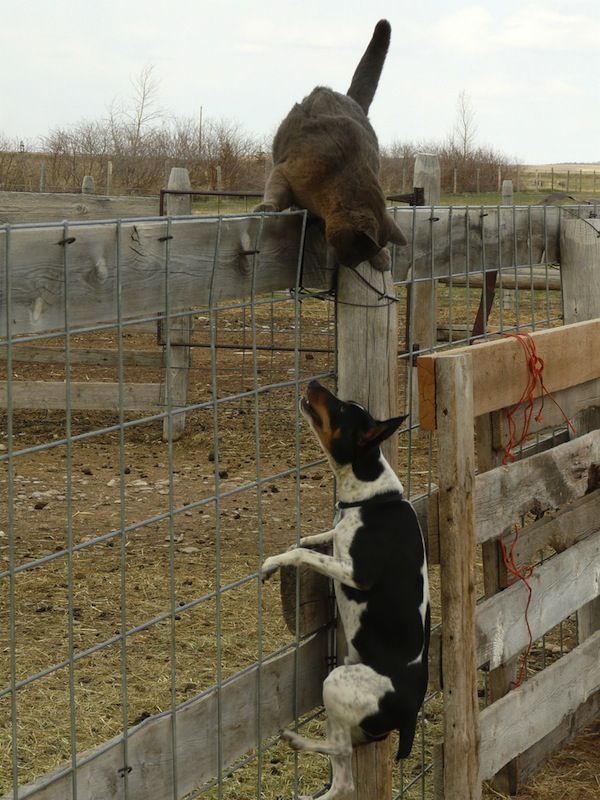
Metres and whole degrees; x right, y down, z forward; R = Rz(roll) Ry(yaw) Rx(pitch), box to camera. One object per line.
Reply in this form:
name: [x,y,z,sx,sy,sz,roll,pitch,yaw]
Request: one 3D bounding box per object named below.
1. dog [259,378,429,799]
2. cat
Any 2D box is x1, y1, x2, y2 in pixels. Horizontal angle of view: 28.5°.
dog: [0.137,0.511,3.166,0.439,1.125,0.390,0,7,3]
cat: [0.085,-0.621,3.249,0.395,0.496,0.359,1,8,5]
